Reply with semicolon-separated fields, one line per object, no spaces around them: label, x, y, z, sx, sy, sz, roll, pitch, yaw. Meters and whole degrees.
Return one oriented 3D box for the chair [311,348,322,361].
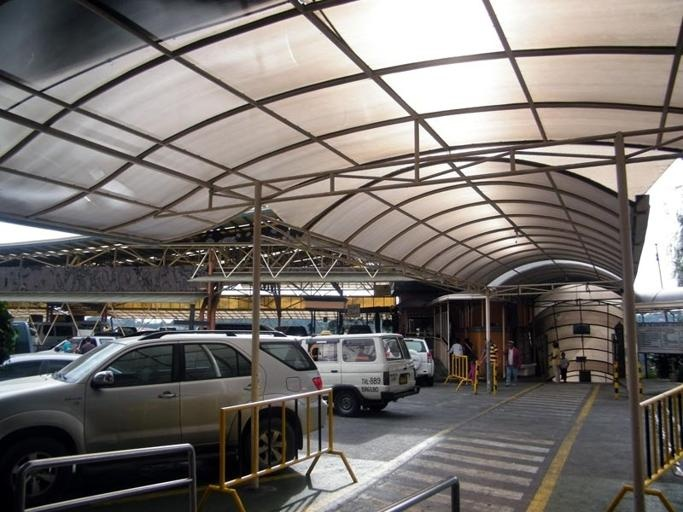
chair;-0.771;3.137;16.298;0.390;0.391;0.363;1;-24;0
